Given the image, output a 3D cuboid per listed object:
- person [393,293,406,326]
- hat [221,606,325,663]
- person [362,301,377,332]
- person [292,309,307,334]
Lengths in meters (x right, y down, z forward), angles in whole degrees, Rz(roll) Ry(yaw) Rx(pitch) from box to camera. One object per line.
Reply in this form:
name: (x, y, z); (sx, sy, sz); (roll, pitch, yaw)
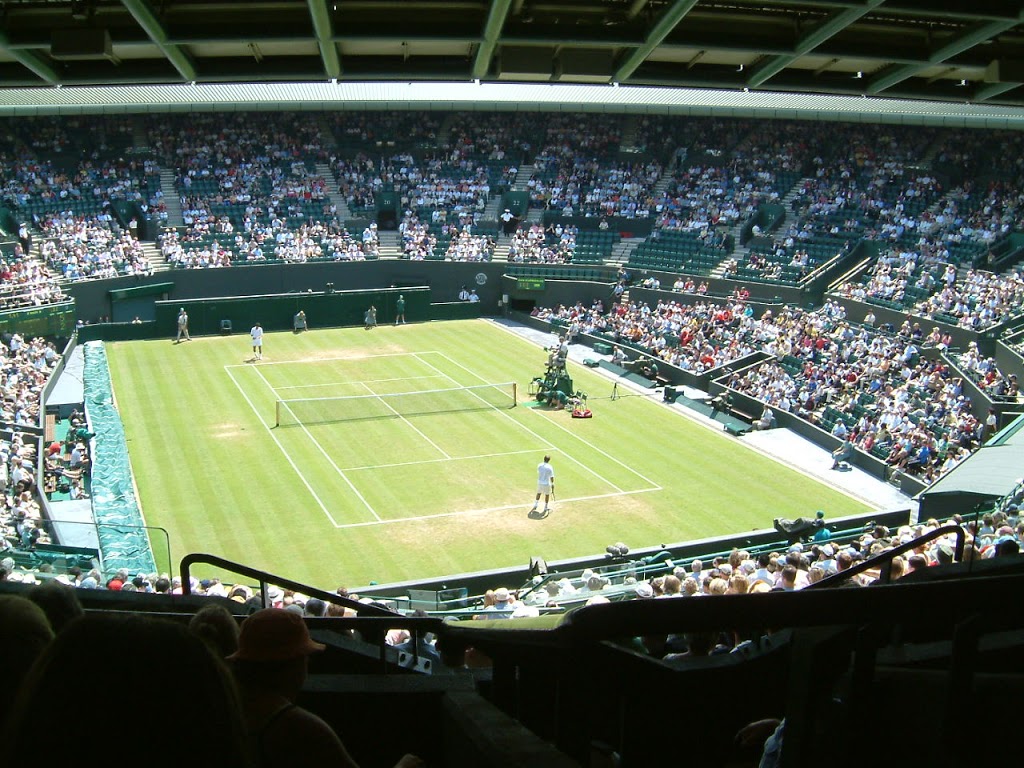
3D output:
person: (-6.262, -4.206, 53.628); (0.331, 1.693, 0.884); (12, 18, 37)
hat: (-1.033, 1.096, 4.084); (0.225, 0.115, 0.281); (0, 3, 22)
person: (-7.919, -3.756, 52.902); (0.777, 1.250, 1.184); (0, 14, -7)
person: (-11.486, -3.325, 51.429); (0.701, 1.157, 0.317); (2, 3, -2)
